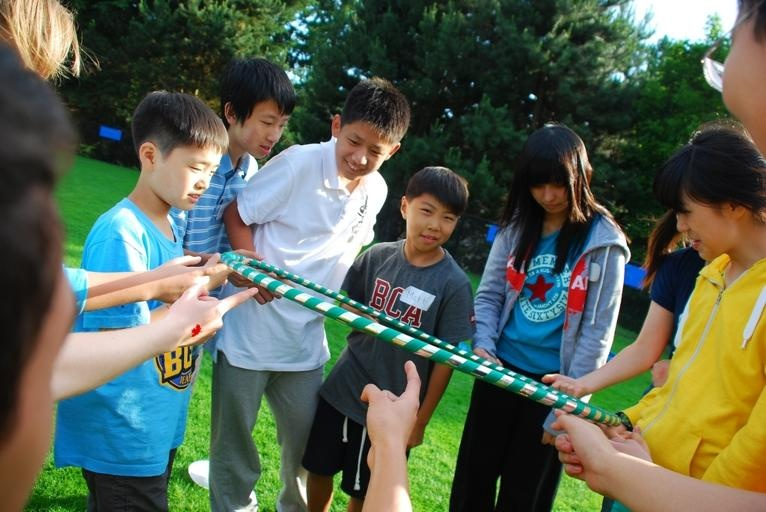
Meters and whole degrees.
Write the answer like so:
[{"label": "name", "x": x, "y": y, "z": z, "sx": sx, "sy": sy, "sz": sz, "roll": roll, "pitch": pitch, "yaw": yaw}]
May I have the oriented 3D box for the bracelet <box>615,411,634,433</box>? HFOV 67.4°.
[{"label": "bracelet", "x": 1.214, "y": 0.844, "z": 2.930, "sx": 0.080, "sy": 0.093, "sz": 0.078, "roll": -12, "pitch": 8, "yaw": -14}]
